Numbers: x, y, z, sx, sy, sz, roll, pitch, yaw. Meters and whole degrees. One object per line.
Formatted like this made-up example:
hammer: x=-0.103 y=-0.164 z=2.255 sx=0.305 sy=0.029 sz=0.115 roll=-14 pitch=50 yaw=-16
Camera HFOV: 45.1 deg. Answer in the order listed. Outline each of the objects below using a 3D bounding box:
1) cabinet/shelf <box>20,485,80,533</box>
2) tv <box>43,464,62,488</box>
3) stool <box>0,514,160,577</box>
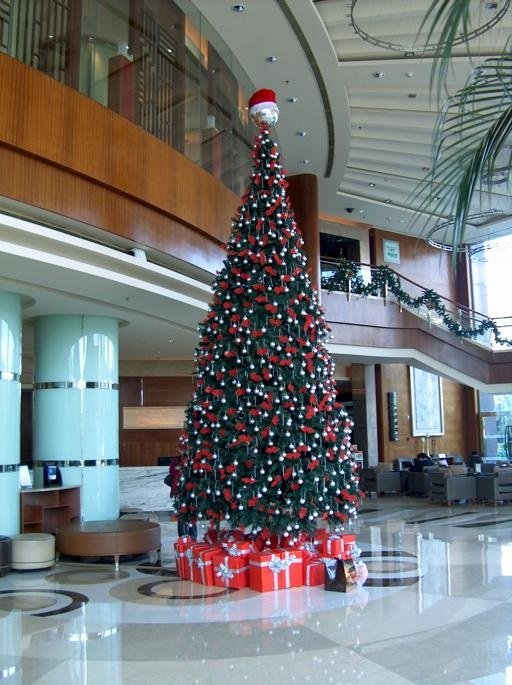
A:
cabinet/shelf: x=-2.725 y=2.196 z=8.121 sx=0.246 sy=0.606 sz=0.761 roll=-10 pitch=-13 yaw=40
tv: x=-2.713 y=1.798 z=8.219 sx=0.107 sy=0.325 sz=0.233 roll=-10 pitch=-12 yaw=30
stool: x=-1.961 y=2.426 z=7.342 sx=1.681 sy=0.463 sz=0.917 roll=-1 pitch=-10 yaw=-13
